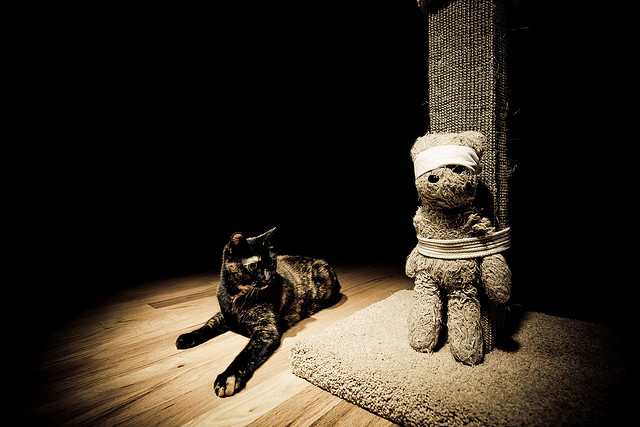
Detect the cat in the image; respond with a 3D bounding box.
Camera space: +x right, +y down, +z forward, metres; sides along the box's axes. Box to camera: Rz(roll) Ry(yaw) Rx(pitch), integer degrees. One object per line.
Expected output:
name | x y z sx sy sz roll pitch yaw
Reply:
cat | -0.346 0.481 2.914 0.570 0.666 1.251 4 20 39
